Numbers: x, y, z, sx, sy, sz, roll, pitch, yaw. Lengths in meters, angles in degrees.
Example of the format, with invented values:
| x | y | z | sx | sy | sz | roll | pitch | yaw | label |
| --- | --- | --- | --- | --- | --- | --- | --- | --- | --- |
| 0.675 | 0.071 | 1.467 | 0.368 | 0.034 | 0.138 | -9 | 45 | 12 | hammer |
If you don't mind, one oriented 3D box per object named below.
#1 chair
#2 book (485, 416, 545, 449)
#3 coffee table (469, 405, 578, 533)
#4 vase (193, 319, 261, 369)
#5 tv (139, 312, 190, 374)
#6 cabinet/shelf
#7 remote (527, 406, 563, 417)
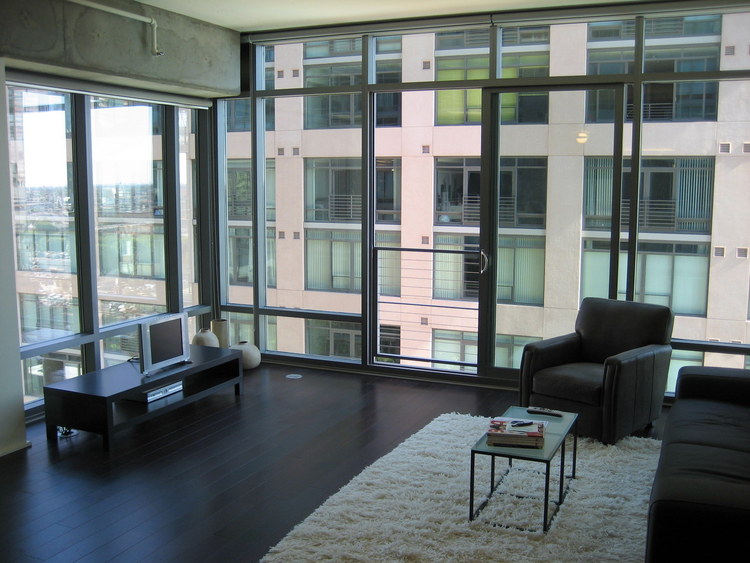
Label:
| x | y | z | sx | sy | sz | roll | pitch | yaw | label |
| --- | --- | --- | --- | --- | --- | --- | --- | --- | --- |
| 1.867 | 0.656 | 5.439 | 1.110 | 1.207 | 1.258 | 4 | 5 | 44 | chair |
| 0.894 | 0.930 | 3.982 | 0.343 | 0.088 | 0.431 | 1 | 11 | 14 | book |
| 0.983 | 1.187 | 4.070 | 0.556 | 0.413 | 0.932 | 0 | 5 | 23 | coffee table |
| -1.554 | 0.664 | 6.602 | 0.546 | 0.333 | 0.211 | 4 | 8 | 13 | vase |
| -1.851 | 0.547 | 5.535 | 0.090 | 0.474 | 0.571 | 2 | 7 | 22 | tv |
| -1.999 | 0.967 | 5.451 | 0.667 | 0.448 | 1.573 | 6 | 13 | 34 | cabinet/shelf |
| 1.170 | 0.903 | 4.348 | 0.216 | 0.047 | 0.130 | 3 | 0 | 29 | remote |
